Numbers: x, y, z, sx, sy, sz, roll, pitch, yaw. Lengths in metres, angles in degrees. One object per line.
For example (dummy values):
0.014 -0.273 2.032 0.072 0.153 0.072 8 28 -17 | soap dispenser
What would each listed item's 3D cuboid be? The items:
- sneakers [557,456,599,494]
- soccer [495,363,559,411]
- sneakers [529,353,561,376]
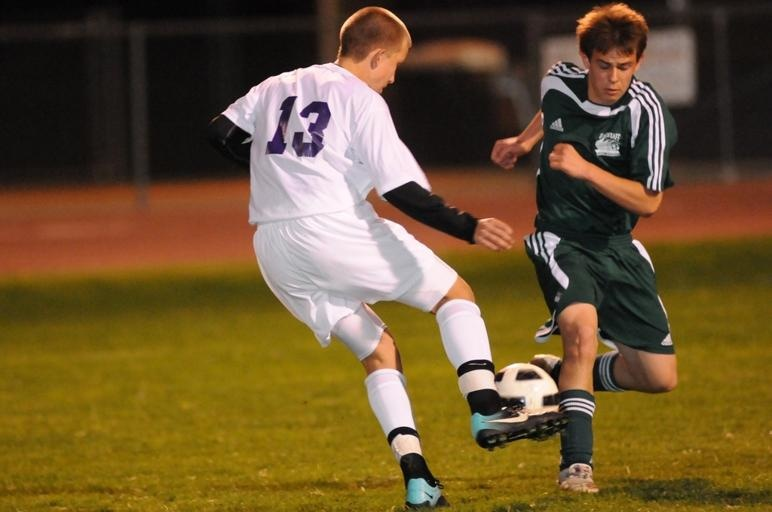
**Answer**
1.530 1.756 9.834 0.164 0.149 0.347 5 -8 -34 | sneakers
1.158 1.062 10.004 0.443 0.322 0.342 9 -29 -20 | soccer
1.378 0.931 10.762 0.168 0.095 0.212 -25 27 -34 | sneakers
